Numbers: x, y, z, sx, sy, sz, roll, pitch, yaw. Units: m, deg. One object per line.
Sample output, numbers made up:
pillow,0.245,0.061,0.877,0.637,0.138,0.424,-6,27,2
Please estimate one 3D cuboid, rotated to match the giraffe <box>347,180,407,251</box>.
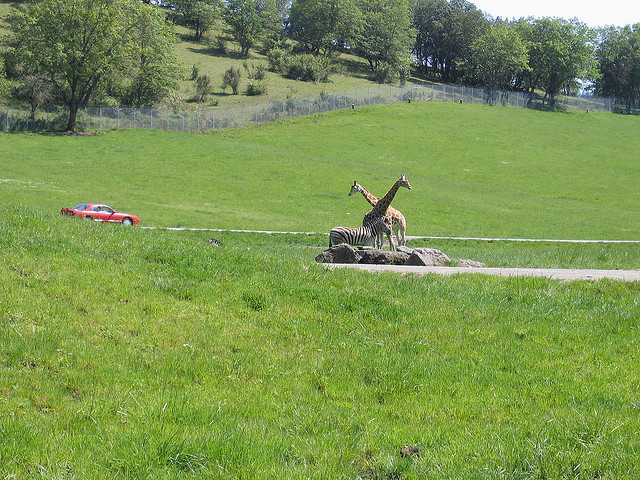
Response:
giraffe,10.760,-3.657,252.238,8.186,14.651,10.044,-2,8,34
